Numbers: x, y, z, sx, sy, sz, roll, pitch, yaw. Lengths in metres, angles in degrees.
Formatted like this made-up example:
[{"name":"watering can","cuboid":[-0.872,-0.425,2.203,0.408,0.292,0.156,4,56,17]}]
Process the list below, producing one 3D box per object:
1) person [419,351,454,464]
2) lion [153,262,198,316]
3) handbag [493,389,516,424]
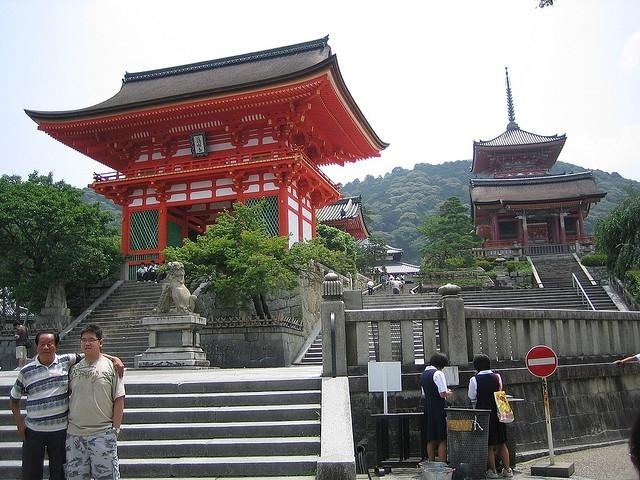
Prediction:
[{"name":"person","cuboid":[1.832,2.666,9.527,0.513,1.637,0.527,-3,-6,37]},{"name":"lion","cuboid":[-4.469,1.398,17.273,1.415,1.820,1.363,-2,0,-3]},{"name":"handbag","cuboid":[2.920,2.644,9.407,0.239,0.493,0.324,-8,-14,20]}]
